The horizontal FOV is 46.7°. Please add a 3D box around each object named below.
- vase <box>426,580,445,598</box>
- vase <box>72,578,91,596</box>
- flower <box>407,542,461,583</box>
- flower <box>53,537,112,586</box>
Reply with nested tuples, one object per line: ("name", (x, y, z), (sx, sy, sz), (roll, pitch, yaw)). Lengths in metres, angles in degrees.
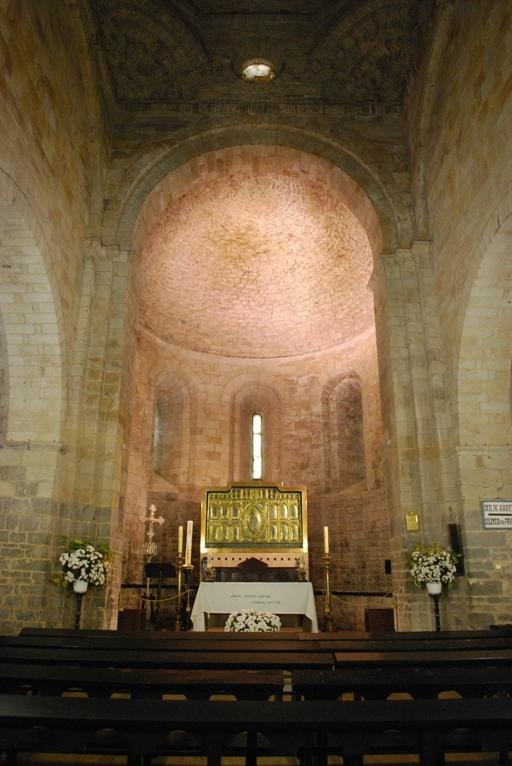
("vase", (2.230, 2.532, 7.345), (0.232, 0.184, 0.218), (0, -9, 15))
("vase", (-2.179, 2.525, 7.303), (0.205, 0.153, 0.207), (-17, -33, 17))
("flower", (2.195, 2.233, 7.377), (0.495, 0.360, 0.525), (-1, 0, -40))
("flower", (-2.232, 2.340, 7.587), (0.653, 0.582, 0.624), (6, -61, -20))
